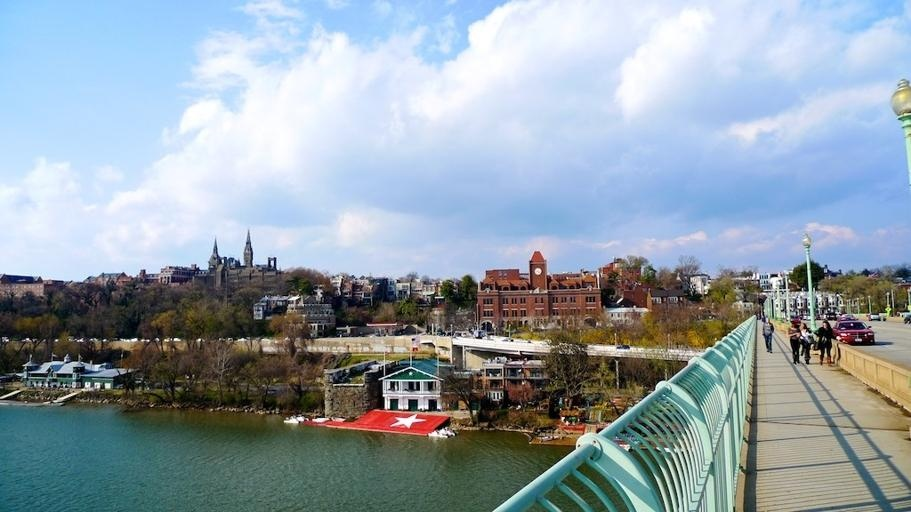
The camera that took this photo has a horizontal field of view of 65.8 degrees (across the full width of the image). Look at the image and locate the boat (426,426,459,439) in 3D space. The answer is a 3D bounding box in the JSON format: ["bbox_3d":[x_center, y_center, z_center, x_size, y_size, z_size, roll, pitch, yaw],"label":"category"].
[{"bbox_3d":[-0.839,12.545,50.011,2.004,0.655,1.213,0,-10,-7],"label":"boat"}]

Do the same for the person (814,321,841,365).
[{"bbox_3d":[19.662,4.559,37.699,0.758,2.301,1.202,-6,-10,28],"label":"person"}]
